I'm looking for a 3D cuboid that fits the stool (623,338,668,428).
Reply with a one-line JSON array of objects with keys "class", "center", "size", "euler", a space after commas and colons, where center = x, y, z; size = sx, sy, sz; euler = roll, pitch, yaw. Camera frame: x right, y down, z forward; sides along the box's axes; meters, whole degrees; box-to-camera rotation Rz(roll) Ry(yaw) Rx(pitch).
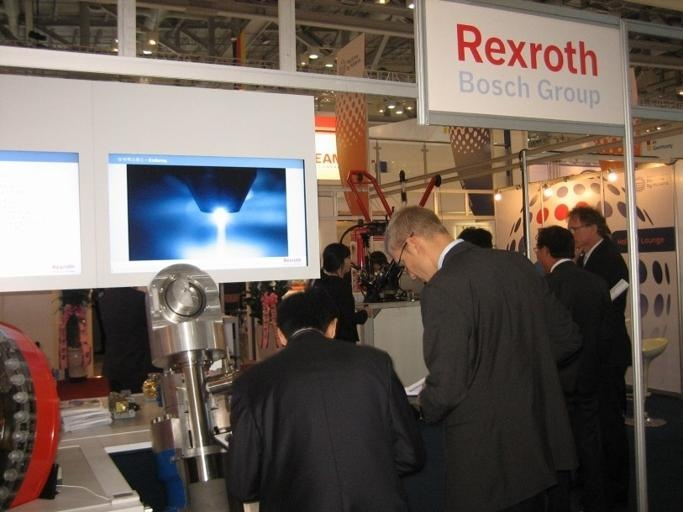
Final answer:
[{"class": "stool", "center": [2.745, 1.121, 5.816], "size": [0.355, 0.765, 0.419], "euler": [-1, 2, 3]}]
